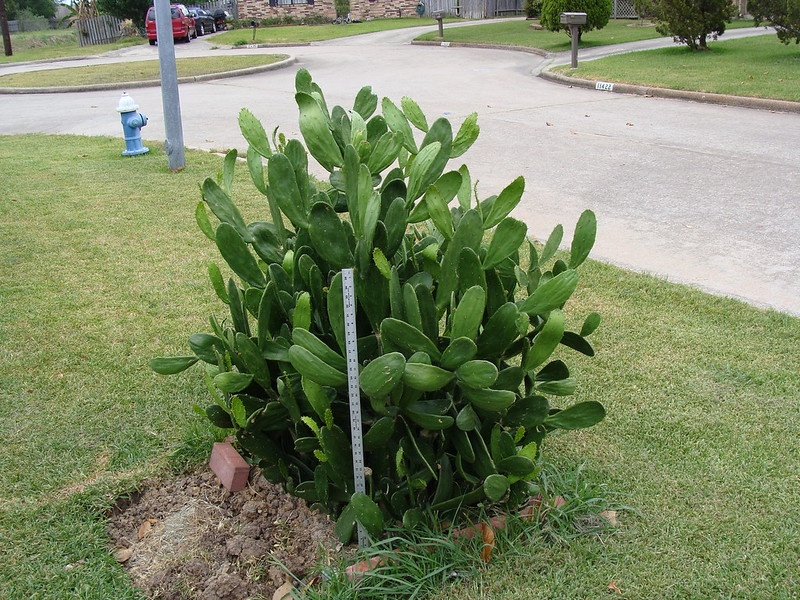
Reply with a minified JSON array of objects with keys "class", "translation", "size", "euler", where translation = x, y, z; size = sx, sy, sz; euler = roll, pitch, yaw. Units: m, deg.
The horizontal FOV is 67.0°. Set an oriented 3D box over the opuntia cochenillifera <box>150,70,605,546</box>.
[{"class":"opuntia cochenillifera","translation":[-0.064,-0.018,2.665],"size":[1.727,1.885,1.173],"euler":[6,22,23]}]
